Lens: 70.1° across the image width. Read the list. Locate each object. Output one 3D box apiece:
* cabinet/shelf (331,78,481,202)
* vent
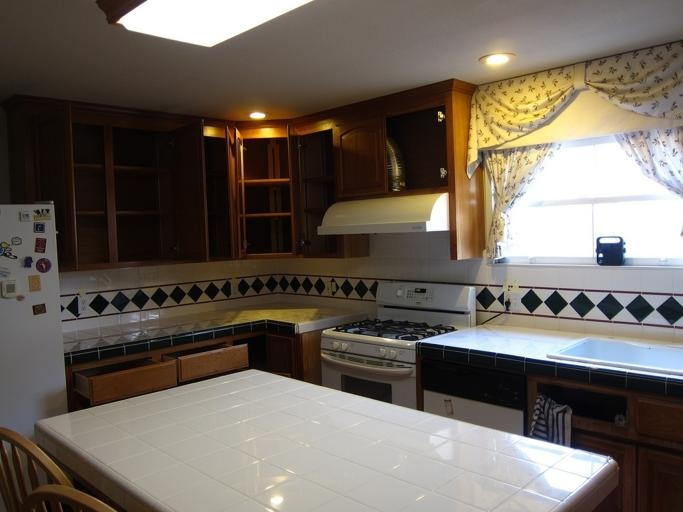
[{"bbox_3d":[0.497,-0.823,3.392,0.709,0.638,0.237,-3,-7,37],"label":"cabinet/shelf"},{"bbox_3d":[0.267,-0.283,3.483,0.961,0.300,0.267,-1,1,40],"label":"vent"}]
